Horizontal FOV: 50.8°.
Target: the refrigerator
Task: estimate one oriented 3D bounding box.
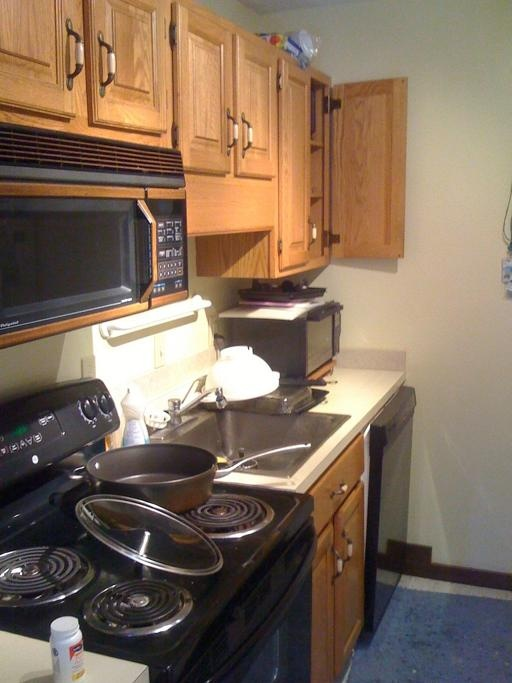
[{"bbox_3d":[0.577,0.725,2.339,0.167,0.999,0.611,1,2,20],"label":"refrigerator"}]

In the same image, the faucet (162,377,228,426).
[{"bbox_3d":[-0.192,0.198,1.755,0.186,0.112,0.382,0,2,-6],"label":"faucet"}]

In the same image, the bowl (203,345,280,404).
[{"bbox_3d":[-0.034,0.096,1.808,0.189,0.099,0.189,-4,14,1],"label":"bowl"}]

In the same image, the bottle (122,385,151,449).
[{"bbox_3d":[-0.319,0.199,1.419,0.067,0.145,0.111,0,2,-15],"label":"bottle"}]

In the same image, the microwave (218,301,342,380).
[{"bbox_3d":[0.113,-0.031,2.371,0.324,0.307,0.450,0,9,14],"label":"microwave"}]
